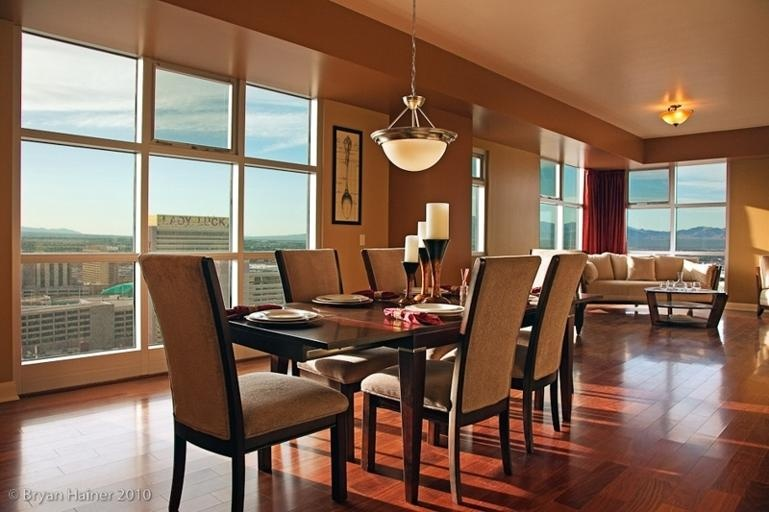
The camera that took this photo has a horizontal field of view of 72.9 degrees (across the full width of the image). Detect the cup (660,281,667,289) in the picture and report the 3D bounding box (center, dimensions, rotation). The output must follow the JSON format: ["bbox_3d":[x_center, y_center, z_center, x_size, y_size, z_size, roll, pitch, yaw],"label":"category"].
[{"bbox_3d":[4.265,0.441,7.951,0.092,0.081,0.061,-6,9,-39],"label":"cup"}]

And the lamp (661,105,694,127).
[{"bbox_3d":[4.182,-2.042,7.503,0.421,0.173,0.393,-3,1,-29],"label":"lamp"}]

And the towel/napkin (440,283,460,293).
[{"bbox_3d":[0.558,0.266,4.253,0.108,0.043,0.164,3,2,32],"label":"towel/napkin"}]

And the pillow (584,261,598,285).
[{"bbox_3d":[3.375,0.286,8.515,0.141,0.237,0.396,9,17,34],"label":"pillow"}]

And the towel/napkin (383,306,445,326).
[{"bbox_3d":[0.163,0.366,3.153,0.230,0.056,0.128,8,2,39],"label":"towel/napkin"}]

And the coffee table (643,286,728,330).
[{"bbox_3d":[4.484,0.753,7.670,0.949,0.393,0.894,2,-4,-29],"label":"coffee table"}]

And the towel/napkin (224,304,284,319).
[{"bbox_3d":[-0.849,0.332,3.337,0.119,0.071,0.449,-5,-4,44],"label":"towel/napkin"}]

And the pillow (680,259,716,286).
[{"bbox_3d":[5.119,0.280,8.512,0.165,0.303,0.451,31,-12,-18],"label":"pillow"}]

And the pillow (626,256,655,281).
[{"bbox_3d":[4.480,0.230,9.068,0.428,0.367,0.141,-6,-28,8],"label":"pillow"}]

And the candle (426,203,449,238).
[{"bbox_3d":[0.354,-0.229,3.419,0.138,0.237,0.066,0,11,-3],"label":"candle"}]

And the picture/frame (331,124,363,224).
[{"bbox_3d":[-0.437,-0.958,6.172,0.487,1.150,0.149,-7,13,-34],"label":"picture/frame"}]
